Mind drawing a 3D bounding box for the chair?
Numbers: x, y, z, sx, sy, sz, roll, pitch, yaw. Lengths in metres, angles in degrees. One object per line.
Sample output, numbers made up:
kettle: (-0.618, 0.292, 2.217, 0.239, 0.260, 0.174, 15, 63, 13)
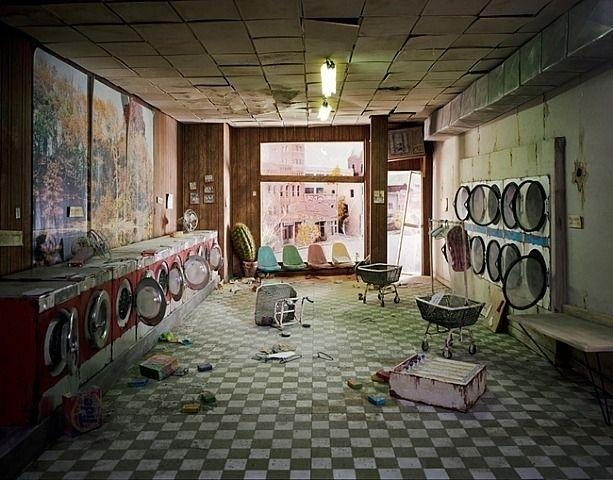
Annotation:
chair: (-0.109, 0.515, 10.233, 2.336, 0.802, 0.652, -2, 6, -9)

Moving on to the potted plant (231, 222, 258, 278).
potted plant: (-1.592, 0.249, 10.191, 0.704, 1.332, 0.376, 0, 5, 8)
